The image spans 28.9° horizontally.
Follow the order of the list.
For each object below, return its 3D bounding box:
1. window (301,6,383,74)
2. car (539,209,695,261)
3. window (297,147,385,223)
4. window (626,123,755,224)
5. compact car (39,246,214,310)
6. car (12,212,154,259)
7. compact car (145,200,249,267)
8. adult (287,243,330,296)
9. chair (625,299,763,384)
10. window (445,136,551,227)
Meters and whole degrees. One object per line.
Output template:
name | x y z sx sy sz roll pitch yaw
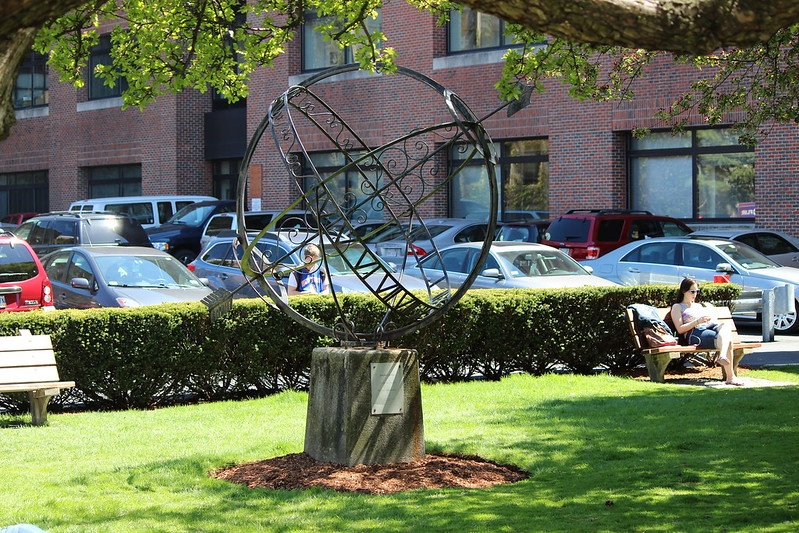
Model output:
window | -1.660 -7.068 47.823 3.149 2.061 0.125 -7 18 -24
car | 5.091 -0.849 35.699 3.077 1.104 1.443 -6 8 -28
window | -1.468 -2.126 44.447 2.839 2.656 0.127 -2 2 26
window | 7.678 -2.056 40.942 3.814 2.204 0.128 -3 -8 38
compact car | -5.415 0.227 29.736 1.618 1.174 2.723 1 -5 -44
car | -7.426 -0.866 35.393 2.674 1.070 1.480 7 8 40
compact car | -5.357 -1.029 41.602 2.782 1.258 1.555 0 1 -17
adult | -1.638 0.134 27.660 0.835 1.067 0.720 -3 8 -31
chair | 5.310 1.390 27.673 2.481 1.097 1.080 0 6 -31
window | 2.924 -2.529 44.677 0.177 3.209 4.745 -7 5 -41
